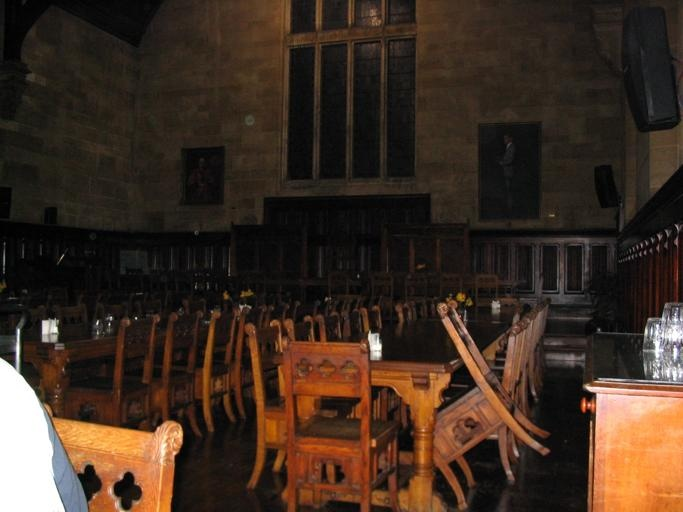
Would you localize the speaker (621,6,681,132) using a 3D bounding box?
[{"bbox_3d":[2.852,-1.754,6.150,0.446,1.167,0.554,-4,-6,26],"label":"speaker"}]

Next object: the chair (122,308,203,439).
[{"bbox_3d":[-1.690,1.110,6.233,0.855,1.229,0.909,-3,-9,-12],"label":"chair"}]

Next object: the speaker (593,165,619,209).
[{"bbox_3d":[5.582,-1.438,14.011,0.457,0.982,0.263,-6,2,29],"label":"speaker"}]

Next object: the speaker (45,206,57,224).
[{"bbox_3d":[-6.691,-0.903,15.311,0.273,0.416,0.411,2,-7,-26],"label":"speaker"}]
